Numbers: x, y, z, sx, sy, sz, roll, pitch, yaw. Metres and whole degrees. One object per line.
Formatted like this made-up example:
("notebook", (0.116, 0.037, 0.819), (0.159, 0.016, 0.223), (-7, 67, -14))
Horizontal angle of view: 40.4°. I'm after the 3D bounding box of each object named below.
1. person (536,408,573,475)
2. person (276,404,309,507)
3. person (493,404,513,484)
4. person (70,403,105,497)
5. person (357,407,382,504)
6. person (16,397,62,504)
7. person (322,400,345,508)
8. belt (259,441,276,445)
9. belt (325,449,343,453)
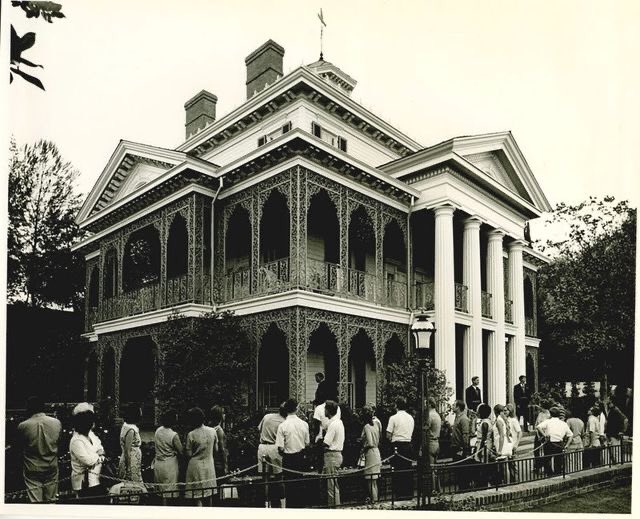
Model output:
("person", (6.373, 4.854, 23.608), (0.821, 1.830, 1.397), (-7, -16, 22))
("person", (-0.653, 4.469, 20.170), (0.712, 2.418, 1.218), (-2, -15, 4))
("person", (4.776, 4.772, 22.653), (0.498, 2.003, 1.212), (-4, -15, 14))
("person", (-5.242, 4.199, 19.551), (0.715, 2.075, 1.266), (3, -16, -15))
("person", (1.252, 4.717, 21.015), (0.473, 2.362, 1.170), (-2, -15, 3))
("person", (-6.158, 4.138, 18.994), (0.990, 2.193, 0.804), (9, -17, -32))
("person", (0.319, 4.567, 20.548), (0.466, 2.439, 1.024), (-1, -15, 0))
("belt", (-1.234, 4.296, 20.434), (0.361, 0.116, 0.121), (-8, -17, 22))
("belt", (0.323, 4.469, 20.486), (0.366, 0.097, 0.105), (1, -16, -9))
